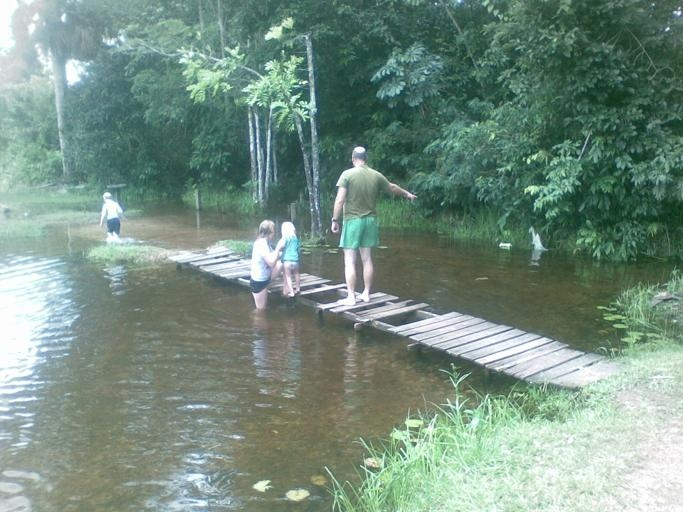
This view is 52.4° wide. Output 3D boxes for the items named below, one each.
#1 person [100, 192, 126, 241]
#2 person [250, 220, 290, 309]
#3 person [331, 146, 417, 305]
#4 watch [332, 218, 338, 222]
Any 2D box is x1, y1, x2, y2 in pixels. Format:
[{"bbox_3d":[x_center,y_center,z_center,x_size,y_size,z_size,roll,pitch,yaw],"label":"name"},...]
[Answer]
[{"bbox_3d":[-6.514,-1.144,19.557,0.576,1.281,1.536,-2,5,-20],"label":"person"},{"bbox_3d":[-1.413,0.143,12.969,0.611,1.622,0.893,0,5,-7],"label":"person"},{"bbox_3d":[0.366,-0.524,12.171,0.969,2.769,1.193,2,5,21],"label":"person"},{"bbox_3d":[-0.110,-0.611,12.098,0.100,0.079,0.102,-6,12,-30],"label":"watch"}]
